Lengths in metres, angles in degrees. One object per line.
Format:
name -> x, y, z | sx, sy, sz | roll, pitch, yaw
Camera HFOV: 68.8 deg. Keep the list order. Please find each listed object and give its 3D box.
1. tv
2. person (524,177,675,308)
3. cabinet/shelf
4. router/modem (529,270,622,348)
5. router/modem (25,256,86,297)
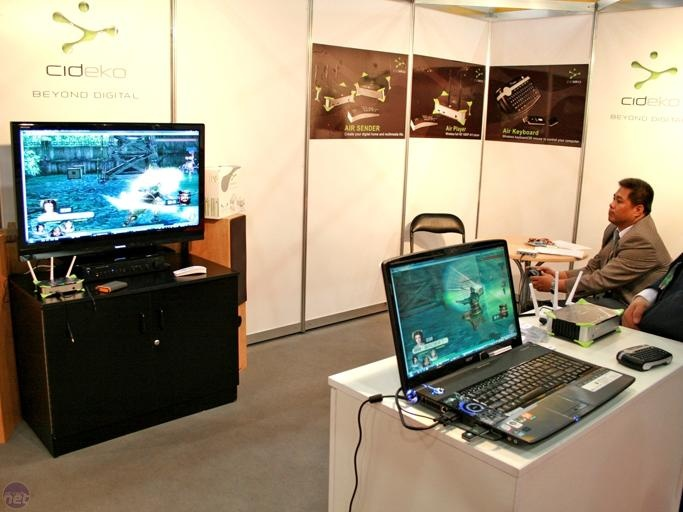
tv -> -1.465, -0.347, 3.055 | 1.045, 0.700, 0.073 | -11, 22, -36
person -> 2.058, 0.122, 4.011 | 1.061, 1.399, 0.611 | 2, 17, 20
cabinet/shelf -> -1.421, 0.492, 3.496 | 1.815, 1.259, 1.029 | -10, 14, -41
router/modem -> 1.138, 0.240, 2.292 | 0.378, 0.231, 0.237 | -13, 17, -29
router/modem -> -1.661, 0.102, 2.917 | 0.253, 0.205, 0.322 | -7, 8, -36
